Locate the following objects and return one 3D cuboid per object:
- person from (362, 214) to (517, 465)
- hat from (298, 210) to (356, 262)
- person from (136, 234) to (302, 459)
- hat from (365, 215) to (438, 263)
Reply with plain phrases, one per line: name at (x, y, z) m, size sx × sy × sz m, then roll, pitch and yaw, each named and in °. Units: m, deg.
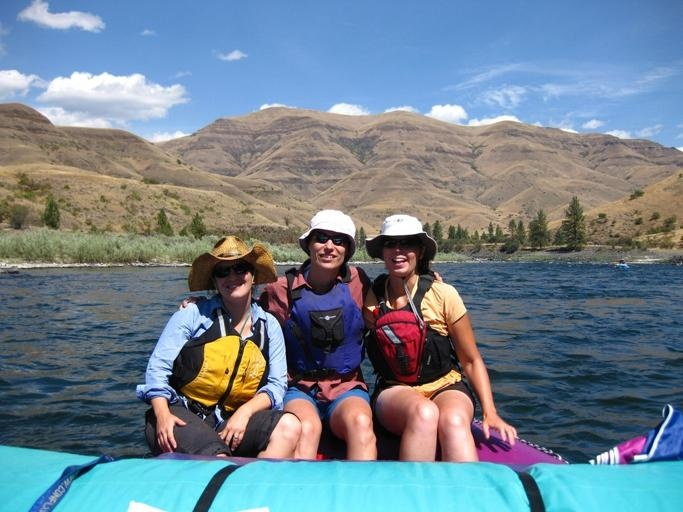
person at (0.730, 0.571, 4.121) m, size 0.894 × 1.986 × 1.195 m, roll -1°, pitch 0°, yaw -13°
hat at (-0.079, -0.231, 4.590) m, size 0.411 × 0.249 × 0.489 m, roll 5°, pitch -41°, yaw 1°
person at (-0.947, 0.660, 3.970) m, size 1.077 × 1.596 × 0.931 m, roll -1°, pitch 0°, yaw -19°
hat at (0.502, -0.171, 4.476) m, size 0.566 × 0.286 × 0.668 m, roll -9°, pitch -28°, yaw 19°
